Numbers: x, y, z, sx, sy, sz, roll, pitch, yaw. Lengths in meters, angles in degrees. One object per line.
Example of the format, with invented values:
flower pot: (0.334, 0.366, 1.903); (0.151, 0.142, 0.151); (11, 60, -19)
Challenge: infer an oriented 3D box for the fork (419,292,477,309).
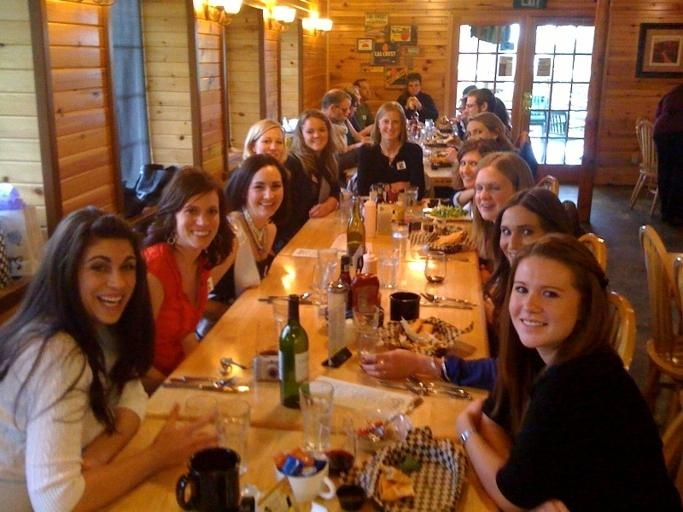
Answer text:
fork: (0.523, 0.224, 2.586); (0.223, 0.034, 0.030); (7, 39, 18)

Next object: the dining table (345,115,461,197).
dining table: (0.511, -0.958, 5.306); (0.989, 1.299, 0.788); (0, 20, 0)

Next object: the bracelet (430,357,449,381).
bracelet: (0.363, 0.420, 1.952); (0.028, 0.078, 0.057); (-12, -9, -3)

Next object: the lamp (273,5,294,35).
lamp: (-0.787, -3.123, 6.907); (0.280, 0.251, 0.312); (26, 36, 29)

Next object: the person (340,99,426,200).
person: (0.474, -0.989, 5.244); (0.782, 0.988, 0.667); (-9, 26, -12)

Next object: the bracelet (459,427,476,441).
bracelet: (0.382, 0.541, 1.592); (0.036, 0.039, 0.025); (11, 13, -5)

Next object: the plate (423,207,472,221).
plate: (0.819, -0.331, 4.090); (0.206, 0.070, 0.189); (11, 8, 40)
